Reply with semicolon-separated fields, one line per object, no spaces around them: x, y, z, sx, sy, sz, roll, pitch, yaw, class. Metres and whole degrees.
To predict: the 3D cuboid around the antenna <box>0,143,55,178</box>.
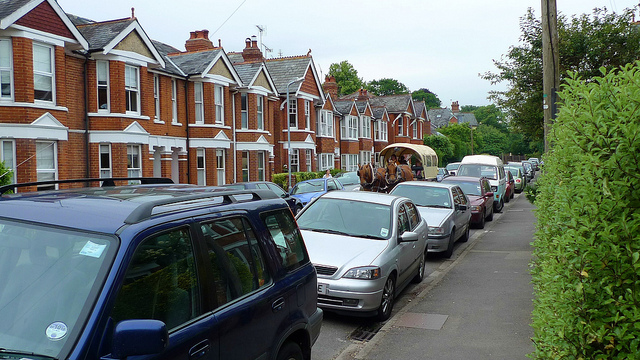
-10.513;-0.712;17.477;0.058;0.200;2.852;18;35;14;antenna

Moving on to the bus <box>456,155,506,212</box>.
8.438;-0.280;25.675;1.932;2.005;3.749;-1;-1;26;bus

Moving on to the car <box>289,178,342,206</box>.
-0.299;0.476;21.680;1.120;0.848;2.015;-3;-4;27;car

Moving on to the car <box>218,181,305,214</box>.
-2.167;0.467;18.734;2.774;1.182;1.535;-5;6;-39;car

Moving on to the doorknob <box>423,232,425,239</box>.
2.443;1.301;11.440;0.027;0.073;0.077;6;0;-10;doorknob

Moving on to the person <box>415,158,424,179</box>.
5.354;-0.583;26.013;0.432;1.043;1.061;3;8;11;person

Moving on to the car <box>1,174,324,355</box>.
-1.721;1.271;5.657;3.344;2.199;1.734;-6;11;-41;car

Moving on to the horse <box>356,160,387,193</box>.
2.288;-0.036;19.625;0.656;1.100;2.300;13;5;31;horse
